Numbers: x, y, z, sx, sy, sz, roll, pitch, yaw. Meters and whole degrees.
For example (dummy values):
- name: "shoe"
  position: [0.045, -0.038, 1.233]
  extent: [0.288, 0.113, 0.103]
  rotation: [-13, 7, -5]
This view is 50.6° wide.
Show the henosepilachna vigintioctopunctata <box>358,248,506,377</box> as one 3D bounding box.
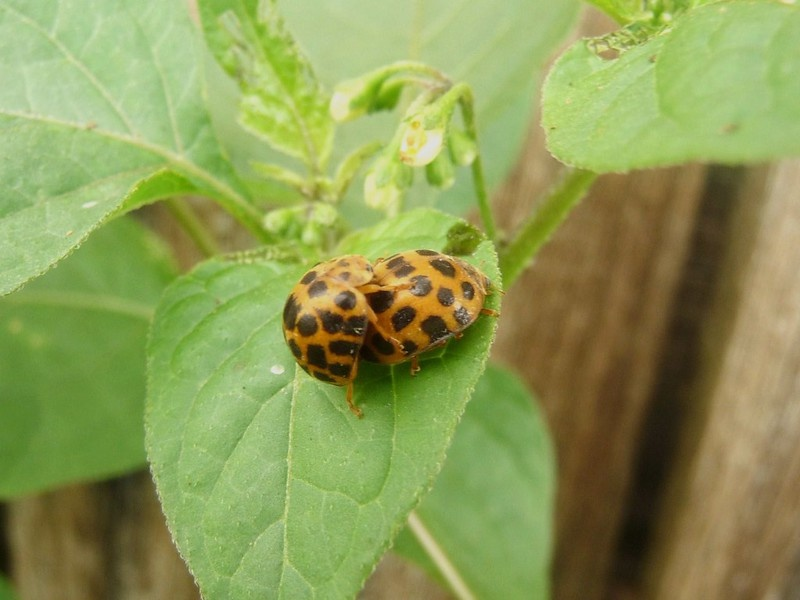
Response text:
- name: "henosepilachna vigintioctopunctata"
  position: [0.048, 0.018, 1.345]
  extent: [0.202, 0.154, 0.155]
  rotation: [3, 22, -2]

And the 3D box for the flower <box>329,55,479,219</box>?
- name: "flower"
  position: [0.004, -0.269, 1.387]
  extent: [0.248, 0.226, 0.134]
  rotation: [6, 22, 4]
